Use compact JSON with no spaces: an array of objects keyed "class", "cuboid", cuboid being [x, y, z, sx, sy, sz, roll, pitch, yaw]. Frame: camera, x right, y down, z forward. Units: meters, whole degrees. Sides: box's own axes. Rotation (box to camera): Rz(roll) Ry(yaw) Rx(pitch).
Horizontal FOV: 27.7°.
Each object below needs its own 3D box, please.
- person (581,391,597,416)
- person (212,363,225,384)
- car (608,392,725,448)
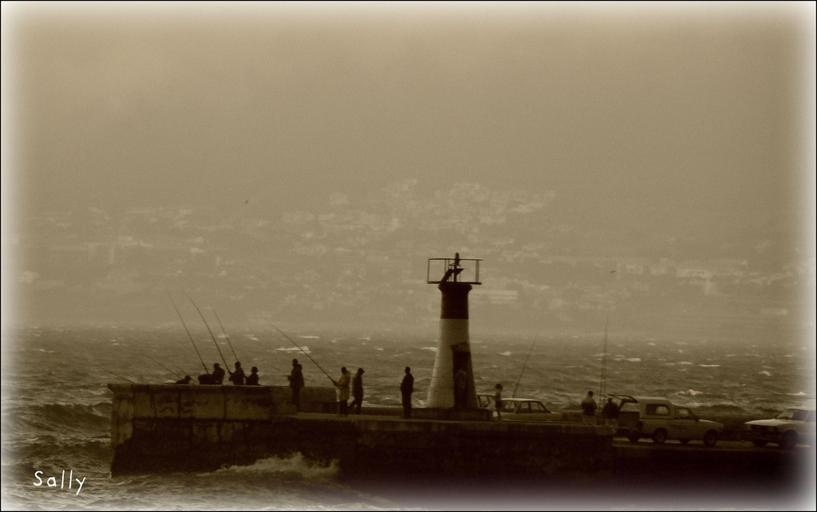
[{"class":"person","cuboid":[10.041,8.317,93.619,0.788,1.308,1.748,3,4,8]},{"class":"person","cuboid":[-10.748,6.615,92.413,0.596,1.171,0.971,1,4,-10]},{"class":"car","cuboid":[14.281,9.297,93.710,5.368,1.917,2.769,-1,1,-14]}]
